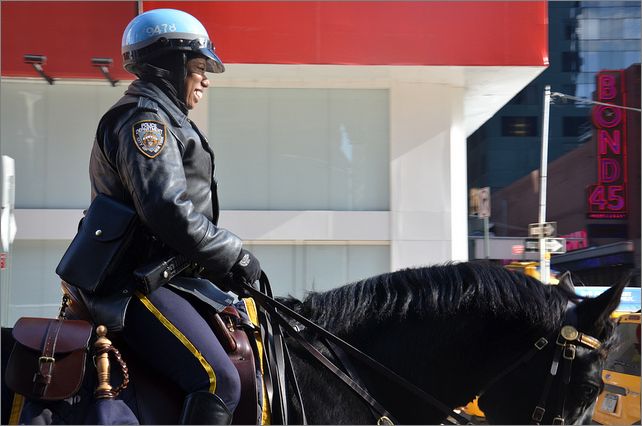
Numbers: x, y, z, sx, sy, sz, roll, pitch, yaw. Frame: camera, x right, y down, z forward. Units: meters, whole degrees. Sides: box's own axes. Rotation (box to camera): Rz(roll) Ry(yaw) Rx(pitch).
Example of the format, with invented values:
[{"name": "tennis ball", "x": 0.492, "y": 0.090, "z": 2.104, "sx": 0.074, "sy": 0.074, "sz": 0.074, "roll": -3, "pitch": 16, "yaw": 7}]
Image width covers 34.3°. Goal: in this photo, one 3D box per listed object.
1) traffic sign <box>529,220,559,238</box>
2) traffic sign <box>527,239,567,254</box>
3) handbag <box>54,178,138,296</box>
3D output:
[{"name": "traffic sign", "x": 6.294, "y": 0.431, "z": 29.294, "sx": 0.710, "sy": 0.413, "sz": 1.187, "roll": 0, "pitch": -3, "yaw": 9}, {"name": "traffic sign", "x": 6.352, "y": 0.867, "z": 29.314, "sx": 1.152, "sy": 0.413, "sz": 0.497, "roll": -1, "pitch": -3, "yaw": 11}, {"name": "handbag", "x": -4.322, "y": 0.554, "z": 19.967, "sx": 1.285, "sy": 1.812, "sz": 0.546, "roll": 29, "pitch": 2, "yaw": 11}]
